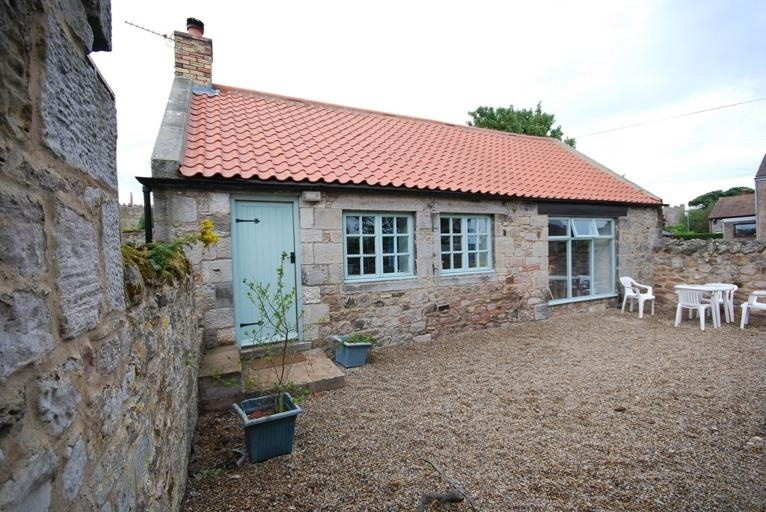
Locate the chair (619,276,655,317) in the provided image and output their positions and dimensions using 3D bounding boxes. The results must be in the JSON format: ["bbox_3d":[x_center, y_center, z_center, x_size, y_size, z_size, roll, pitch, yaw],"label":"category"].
[{"bbox_3d":[5.482,0.854,10.977,0.522,0.691,0.563,1,7,28],"label":"chair"}]

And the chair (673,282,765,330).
[{"bbox_3d":[6.511,0.953,9.726,2.059,0.699,0.727,-4,5,-41],"label":"chair"}]

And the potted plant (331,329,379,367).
[{"bbox_3d":[-0.487,1.483,7.821,0.505,0.355,0.566,5,-1,-34],"label":"potted plant"}]
